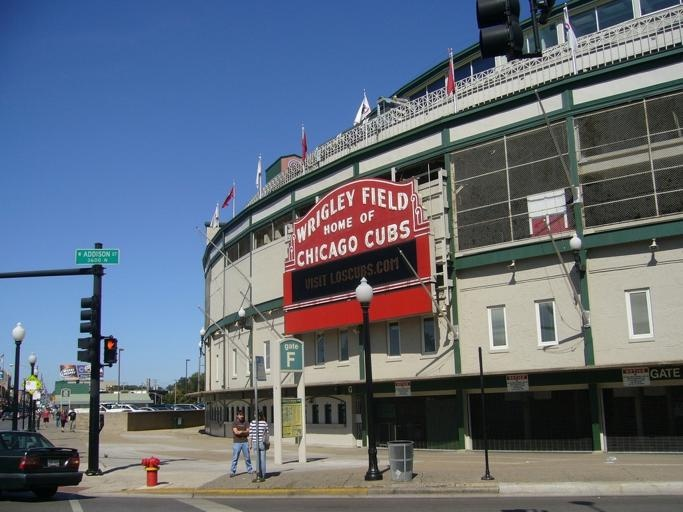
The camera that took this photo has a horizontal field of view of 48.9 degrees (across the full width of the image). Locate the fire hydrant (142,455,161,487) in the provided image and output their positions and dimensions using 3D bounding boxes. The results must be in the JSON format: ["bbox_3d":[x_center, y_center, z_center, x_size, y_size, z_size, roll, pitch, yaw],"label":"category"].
[{"bbox_3d":[-6.905,7.904,27.493,0.564,1.086,1.371,2,-18,-14],"label":"fire hydrant"}]

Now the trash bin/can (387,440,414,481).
[{"bbox_3d":[2.138,7.166,26.316,1.002,1.573,1.429,-2,-16,13],"label":"trash bin/can"}]
